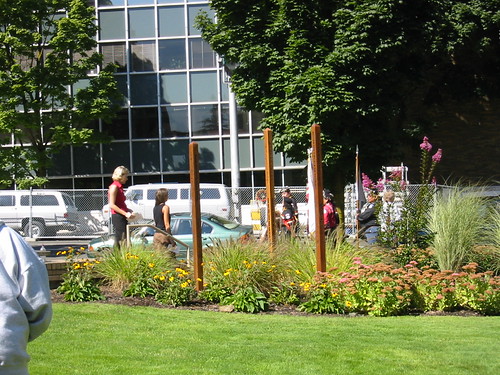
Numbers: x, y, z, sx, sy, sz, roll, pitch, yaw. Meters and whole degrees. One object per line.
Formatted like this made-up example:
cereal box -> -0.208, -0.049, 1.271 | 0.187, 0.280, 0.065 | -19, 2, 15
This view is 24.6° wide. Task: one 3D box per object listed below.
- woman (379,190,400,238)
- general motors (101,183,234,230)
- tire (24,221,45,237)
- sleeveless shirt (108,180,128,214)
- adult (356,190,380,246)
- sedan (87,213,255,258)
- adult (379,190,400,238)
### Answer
woman -> 4.307, 0.754, 35.388 | 0.678, 1.284, 1.142 | -2, -2, 6
general motors -> -2.925, 0.758, 46.062 | 4.128, 1.771, 2.067 | 0, -2, 1
tire -> -8.645, 1.685, 45.600 | 0.666, 0.636, 0.170 | -6, -2, -18
sleeveless shirt -> -4.030, 0.322, 34.852 | 0.555, 1.021, 0.830 | -1, -2, -6
adult -> 3.747, 0.969, 36.192 | 0.729, 1.615, 1.912 | -2, -2, 5
sedan -> -2.686, 1.472, 37.518 | 4.762, 1.471, 2.080 | 0, -3, 0
adult -> 4.217, 0.768, 35.375 | 0.550, 1.652, 0.527 | -15, 36, -18
